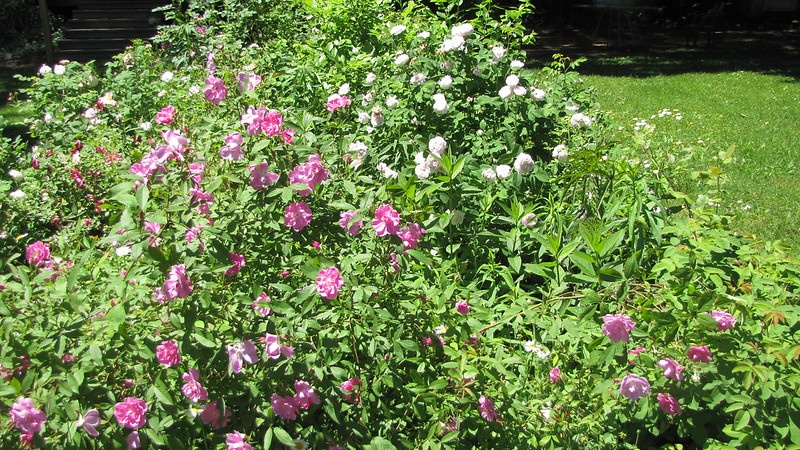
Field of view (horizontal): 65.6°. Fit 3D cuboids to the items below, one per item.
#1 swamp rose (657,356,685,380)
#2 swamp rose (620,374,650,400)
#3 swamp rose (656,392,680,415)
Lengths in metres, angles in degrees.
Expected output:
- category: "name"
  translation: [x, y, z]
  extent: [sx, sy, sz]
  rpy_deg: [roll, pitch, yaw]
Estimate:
- category: "swamp rose"
  translation: [1.663, 0.871, 3.821]
  extent: [0.140, 0.134, 0.069]
  rpy_deg: [12, 10, 5]
- category: "swamp rose"
  translation: [1.405, 0.960, 3.766]
  extent: [0.155, 0.153, 0.074]
  rpy_deg: [-40, 15, 11]
- category: "swamp rose"
  translation: [1.687, 1.109, 3.918]
  extent: [0.132, 0.130, 0.066]
  rpy_deg: [21, 28, 26]
